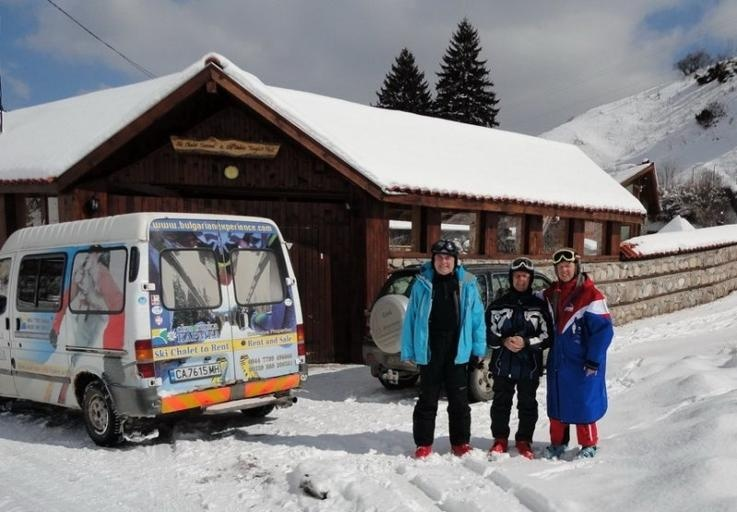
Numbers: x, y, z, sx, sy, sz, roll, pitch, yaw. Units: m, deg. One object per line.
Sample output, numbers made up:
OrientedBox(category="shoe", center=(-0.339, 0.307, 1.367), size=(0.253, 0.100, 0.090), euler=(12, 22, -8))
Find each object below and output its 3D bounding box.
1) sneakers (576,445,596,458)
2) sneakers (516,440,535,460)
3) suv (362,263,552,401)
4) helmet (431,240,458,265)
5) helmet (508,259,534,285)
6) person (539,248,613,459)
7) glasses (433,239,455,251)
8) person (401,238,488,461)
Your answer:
OrientedBox(category="sneakers", center=(2.884, 2.566, 8.672), size=(0.273, 0.134, 0.123), euler=(-2, 6, -3))
OrientedBox(category="sneakers", center=(2.110, 2.598, 8.864), size=(0.138, 0.247, 0.132), euler=(-5, -47, -10))
OrientedBox(category="suv", center=(1.553, 1.257, 11.978), size=(1.784, 1.750, 3.396), euler=(-1, 2, 39))
OrientedBox(category="helmet", center=(1.080, -0.054, 9.148), size=(0.259, 0.320, 0.360), euler=(0, -1, 11))
OrientedBox(category="helmet", center=(2.112, 0.209, 9.114), size=(0.217, 0.365, 0.291), euler=(1, 0, 13))
OrientedBox(category="person", center=(2.784, 1.284, 8.783), size=(0.830, 2.769, 0.514), euler=(0, 5, 17))
OrientedBox(category="glasses", center=(1.092, -0.170, 9.528), size=(0.181, 0.117, 0.287), euler=(-1, -7, 13))
OrientedBox(category="person", center=(1.023, 1.242, 9.008), size=(1.134, 2.889, 0.642), euler=(-1, 5, 4))
